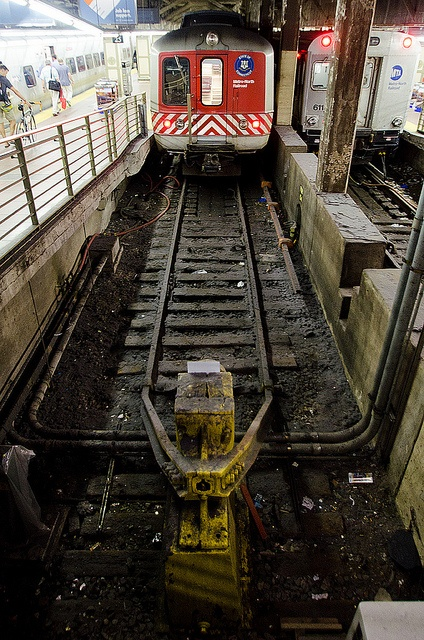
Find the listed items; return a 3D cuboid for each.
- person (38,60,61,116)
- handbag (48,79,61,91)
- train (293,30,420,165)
[{"bbox_3d":[-4.955,-7.117,11.456,0.487,1.503,1.631,-11,35,-19],"label":"person"},{"bbox_3d":[-4.639,-6.859,10.808,0.081,0.273,0.264,22,46,21],"label":"handbag"},{"bbox_3d":[4.106,-7.321,12.060,2.817,3.443,5.635,0,36,3],"label":"train"}]
